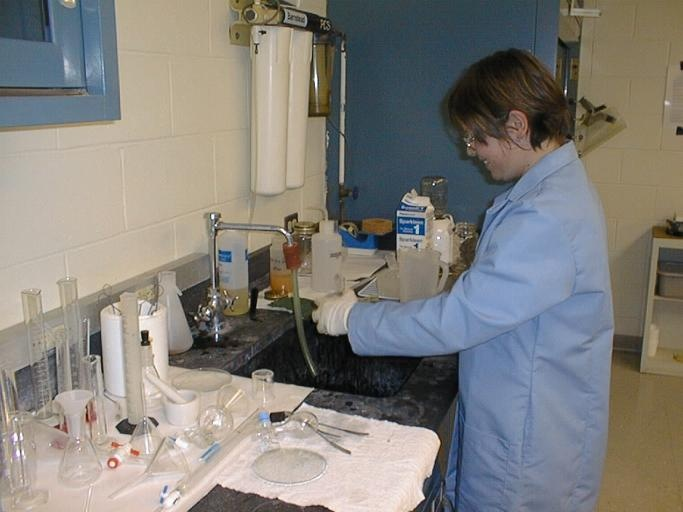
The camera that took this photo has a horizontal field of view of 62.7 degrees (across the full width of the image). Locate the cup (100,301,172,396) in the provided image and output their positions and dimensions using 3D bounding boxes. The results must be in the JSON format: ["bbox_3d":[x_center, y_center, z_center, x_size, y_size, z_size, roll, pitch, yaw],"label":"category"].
[{"bbox_3d":[-0.563,0.230,1.579,0.201,0.263,0.223,-6,8,-43],"label":"cup"}]

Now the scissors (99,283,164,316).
[{"bbox_3d":[-0.638,0.116,1.680,0.113,0.078,0.120,1,9,2],"label":"scissors"}]

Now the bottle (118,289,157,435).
[{"bbox_3d":[-0.531,0.260,1.391,0.071,0.332,0.125,-5,11,-21],"label":"bottle"}]

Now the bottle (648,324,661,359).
[{"bbox_3d":[2.334,0.634,4.200,0.064,0.235,0.170,2,1,18],"label":"bottle"}]

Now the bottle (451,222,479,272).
[{"bbox_3d":[0.631,-0.058,2.857,0.124,0.280,0.065,4,-8,2],"label":"bottle"}]

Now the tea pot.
[{"bbox_3d":[0.282,0.073,2.303,0.246,0.271,0.149,-2,9,-21],"label":"tea pot"}]

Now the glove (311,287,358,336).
[{"bbox_3d":[-0.013,0.205,1.815,0.047,0.154,0.144,29,-22,-28],"label":"glove"}]

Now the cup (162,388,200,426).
[{"bbox_3d":[-0.408,0.379,1.408,0.078,0.064,0.082,0,4,0],"label":"cup"}]
